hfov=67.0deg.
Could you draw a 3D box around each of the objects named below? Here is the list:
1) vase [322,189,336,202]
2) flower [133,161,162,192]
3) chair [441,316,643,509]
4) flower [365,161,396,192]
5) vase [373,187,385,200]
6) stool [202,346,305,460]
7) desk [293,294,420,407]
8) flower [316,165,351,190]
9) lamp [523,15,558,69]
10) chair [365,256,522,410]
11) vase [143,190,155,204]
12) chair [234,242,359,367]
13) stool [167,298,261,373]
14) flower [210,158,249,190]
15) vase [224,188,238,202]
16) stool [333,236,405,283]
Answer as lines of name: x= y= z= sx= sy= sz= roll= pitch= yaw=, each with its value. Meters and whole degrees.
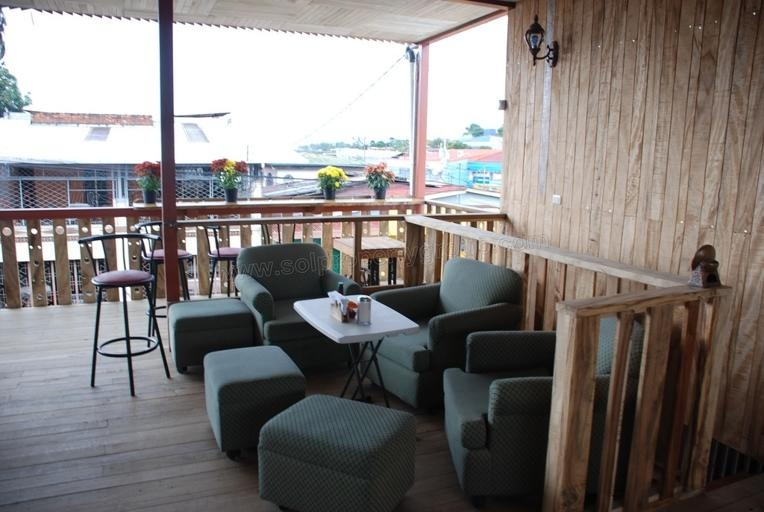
vase: x=-0.862 y=-0.976 z=9.256 sx=0.205 sy=0.147 sz=0.201 roll=0 pitch=0 yaw=-3
flower: x=-3.174 y=-1.082 z=7.800 sx=0.326 sy=0.398 sz=0.230 roll=-6 pitch=9 yaw=-19
chair: x=1.259 y=1.091 z=4.649 sx=1.564 sy=1.317 sz=1.183 roll=-3 pitch=11 yaw=-10
flower: x=-0.051 y=-1.303 z=9.481 sx=0.451 sy=0.433 sz=0.330 roll=-4 pitch=8 yaw=-3
vase: x=-0.061 y=-1.007 z=9.357 sx=0.184 sy=0.152 sz=0.185 roll=3 pitch=10 yaw=5
stool: x=-1.078 y=1.091 z=4.858 sx=0.808 sy=0.669 sz=0.790 roll=-5 pitch=14 yaw=-26
desk: x=-0.183 y=0.933 z=5.020 sx=0.512 sy=0.604 sz=0.910 roll=15 pitch=-1 yaw=8
flower: x=-0.788 y=-1.242 z=9.173 sx=0.397 sy=0.289 sz=0.399 roll=9 pitch=7 yaw=29
lamp: x=1.767 y=-2.407 z=6.477 sx=0.389 sy=0.552 sz=0.237 roll=18 pitch=34 yaw=37
chair: x=0.554 y=0.711 z=5.553 sx=1.304 sy=1.238 sz=1.244 roll=-10 pitch=15 yaw=-43
vase: x=-3.131 y=-0.797 z=7.772 sx=0.158 sy=0.130 sz=0.175 roll=6 pitch=12 yaw=14
chair: x=-0.914 y=0.515 z=6.068 sx=1.226 sy=1.165 sz=1.210 roll=-2 pitch=11 yaw=-14
stool: x=-1.545 y=0.864 z=5.914 sx=0.888 sy=0.560 sz=0.634 roll=-7 pitch=-10 yaw=14
flower: x=-2.216 y=-1.198 z=8.383 sx=0.475 sy=0.450 sz=0.261 roll=-5 pitch=8 yaw=-15
vase: x=-2.185 y=-0.880 z=8.348 sx=0.199 sy=0.151 sz=0.181 roll=-5 pitch=12 yaw=-33
stool: x=-0.104 y=0.090 z=7.734 sx=0.787 sy=0.730 sz=0.764 roll=-3 pitch=12 yaw=-19
